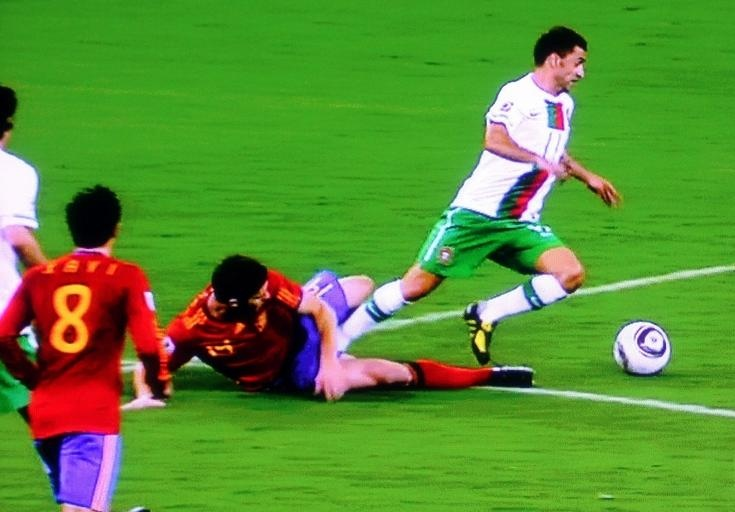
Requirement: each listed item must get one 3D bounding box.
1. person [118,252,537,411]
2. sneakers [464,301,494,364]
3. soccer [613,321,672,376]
[{"bbox_3d":[-0.324,0.381,11.685,2.690,0.935,1.096,-2,35,-7],"label":"person"},{"bbox_3d":[0.796,0.565,12.059,0.201,0.439,0.177,-8,-10,-42],"label":"sneakers"},{"bbox_3d":[1.919,0.666,11.672,0.430,0.360,0.289,2,8,4],"label":"soccer"}]
